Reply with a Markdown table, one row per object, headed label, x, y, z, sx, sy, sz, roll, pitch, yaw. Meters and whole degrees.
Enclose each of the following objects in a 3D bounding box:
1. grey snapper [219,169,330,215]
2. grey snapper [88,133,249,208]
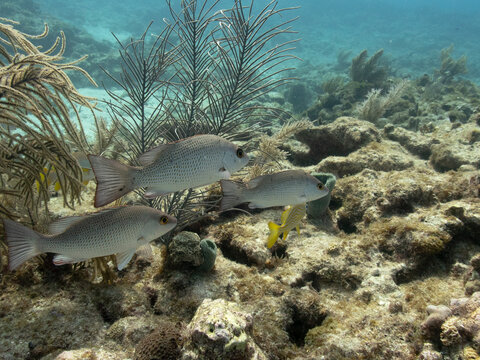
| label | x | y | z | sx | sy | sz | roll | pitch | yaw |
| --- | --- | --- | --- | --- | --- | --- | --- | --- | --- |
| grey snapper | 0.675 | 0.179 | 8.154 | 1.972 | 0.792 | 0.385 | -5 | 25 | -7 |
| grey snapper | -1.090 | -0.216 | 7.815 | 2.888 | 1.067 | 0.968 | -13 | 25 | -28 |
